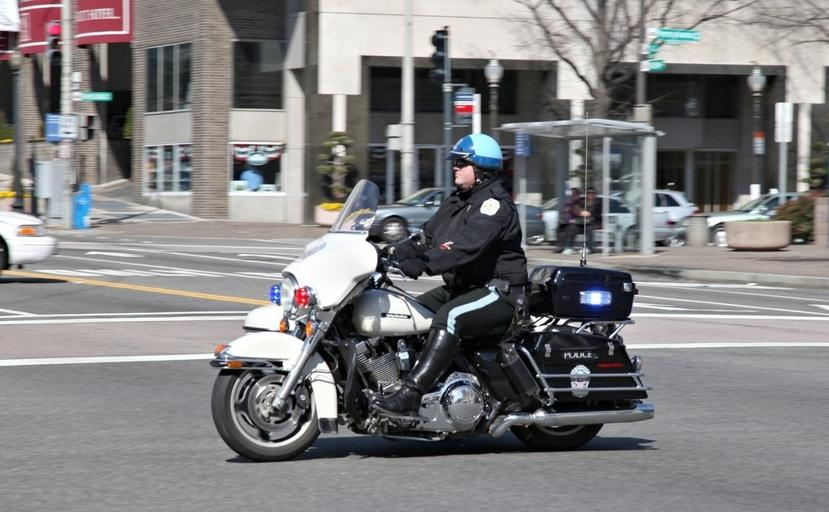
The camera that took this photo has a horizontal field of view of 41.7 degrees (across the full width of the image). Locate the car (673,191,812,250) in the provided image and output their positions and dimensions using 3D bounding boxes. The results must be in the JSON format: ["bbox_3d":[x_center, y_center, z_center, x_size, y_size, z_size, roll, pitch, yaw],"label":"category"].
[{"bbox_3d":[10.002,-1.191,34.404,4.989,1.212,1.848,0,-2,-11],"label":"car"}]

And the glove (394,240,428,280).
[{"bbox_3d":[-0.048,0.015,10.430,0.162,0.424,0.322,-43,-18,-8],"label":"glove"}]

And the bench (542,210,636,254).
[{"bbox_3d":[4.625,-0.738,29.748,2.826,0.975,1.034,0,4,-1],"label":"bench"}]

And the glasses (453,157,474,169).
[{"bbox_3d":[0.459,-0.929,10.805,0.158,0.091,0.122,15,44,29],"label":"glasses"}]

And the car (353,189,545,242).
[{"bbox_3d":[1.097,-1.187,32.113,5.055,1.061,1.821,2,0,-8],"label":"car"}]

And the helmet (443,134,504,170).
[{"bbox_3d":[0.577,-1.045,10.836,0.592,0.194,0.374,2,0,-9],"label":"helmet"}]

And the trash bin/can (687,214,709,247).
[{"bbox_3d":[8.392,-0.738,32.570,0.642,0.909,0.458,8,9,6],"label":"trash bin/can"}]
